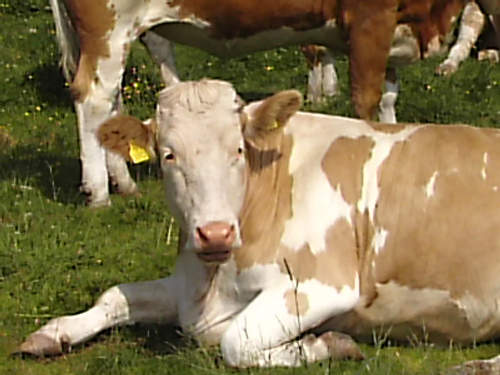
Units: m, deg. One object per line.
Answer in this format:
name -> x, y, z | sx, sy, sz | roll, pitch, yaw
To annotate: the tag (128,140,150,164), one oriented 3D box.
tag -> -1.410, -0.412, 18.322 | 0.296, 0.260, 0.161 | 9, 43, 4
